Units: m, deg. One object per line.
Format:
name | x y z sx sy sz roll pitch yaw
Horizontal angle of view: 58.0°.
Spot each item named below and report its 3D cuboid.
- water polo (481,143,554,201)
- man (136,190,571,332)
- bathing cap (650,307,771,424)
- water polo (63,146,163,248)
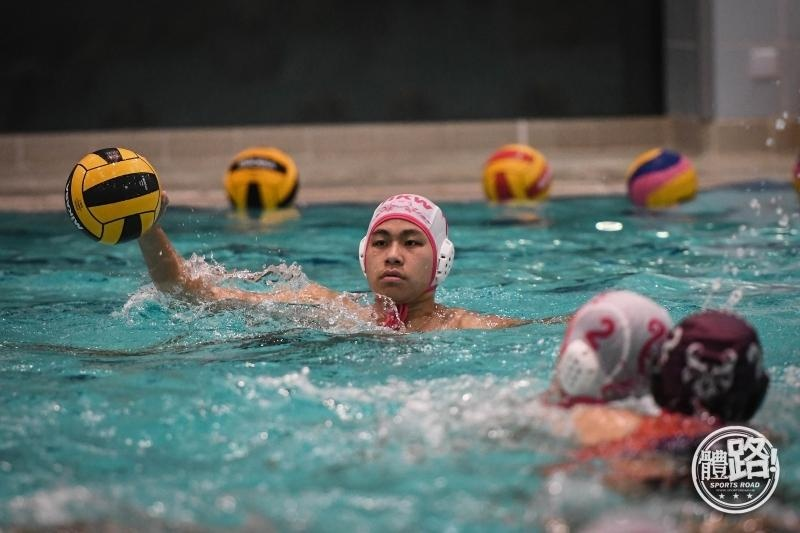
water polo | 0.964 -0.722 5.965 0.594 0.559 0.573 -8 -4 8
man | -0.045 0.029 3.182 2.252 0.636 0.571 6 -8 3
bathing cap | 0.776 0.263 2.087 0.335 0.273 0.494 3 0 14
water polo | -1.119 -0.271 3.048 0.400 0.411 0.394 -5 -5 8
